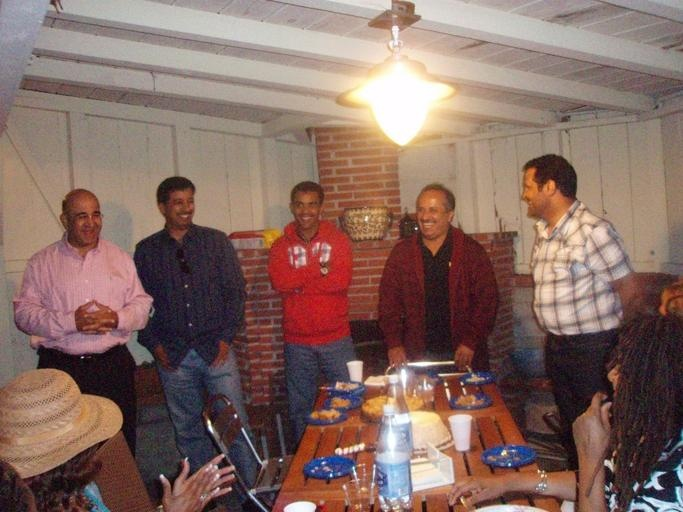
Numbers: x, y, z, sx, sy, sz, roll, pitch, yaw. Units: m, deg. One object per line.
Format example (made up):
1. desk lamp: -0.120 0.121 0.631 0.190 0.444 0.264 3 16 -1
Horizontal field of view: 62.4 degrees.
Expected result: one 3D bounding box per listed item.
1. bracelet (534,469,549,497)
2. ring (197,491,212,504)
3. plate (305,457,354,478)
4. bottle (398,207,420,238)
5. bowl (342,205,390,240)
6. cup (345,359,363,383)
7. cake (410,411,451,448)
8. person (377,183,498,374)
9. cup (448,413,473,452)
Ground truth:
1. bracelet: 0.784 0.881 2.193 0.030 0.075 0.063 1 -1 36
2. ring: -0.521 0.920 2.147 0.011 0.040 0.044 14 26 41
3. plate: -0.049 0.880 2.349 0.126 0.023 0.115 0 9 18
4. bottle: 0.717 -0.323 5.648 0.289 0.368 0.279 1 0 0
5. bowl: 0.227 -0.321 5.547 0.492 0.269 0.427 -4 -2 3
6. cup: 0.082 0.697 3.419 0.134 0.127 0.127 -1 0 0
7. cake: 0.384 0.771 2.501 0.160 0.055 0.151 -1 -1 1
8. person: 0.676 0.263 3.983 0.846 1.420 0.747 -3 15 5
9. cup: 0.516 0.765 2.448 0.149 0.134 0.139 -2 -5 0
